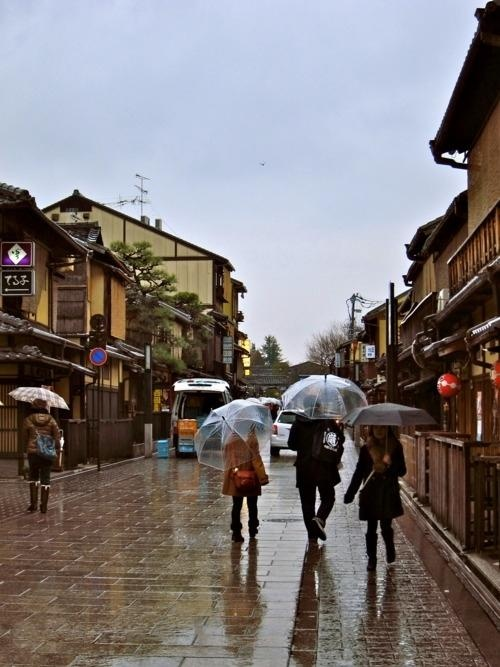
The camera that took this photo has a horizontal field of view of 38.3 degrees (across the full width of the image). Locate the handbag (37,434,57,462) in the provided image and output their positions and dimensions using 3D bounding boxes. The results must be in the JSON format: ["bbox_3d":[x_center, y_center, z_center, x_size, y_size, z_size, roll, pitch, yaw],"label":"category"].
[{"bbox_3d":[-3.296,1.902,11.665,0.099,0.355,0.350,-24,-36,20],"label":"handbag"}]

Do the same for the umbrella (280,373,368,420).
[{"bbox_3d":[0.977,0.873,9.564,1.280,0.596,1.277,4,3,-28],"label":"umbrella"}]

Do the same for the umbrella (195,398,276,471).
[{"bbox_3d":[-0.131,1.164,9.389,0.892,0.946,0.463,-23,-50,26],"label":"umbrella"}]

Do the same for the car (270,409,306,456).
[{"bbox_3d":[1.406,3.926,26.726,1.468,1.440,3.151,0,5,3],"label":"car"}]

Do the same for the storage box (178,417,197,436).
[{"bbox_3d":[-2.298,3.546,26.574,0.639,0.635,0.659,0,-6,-2],"label":"storage box"}]

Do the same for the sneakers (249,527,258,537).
[{"bbox_3d":[0.048,2.553,9.006,0.089,0.113,0.111,0,-15,2],"label":"sneakers"}]

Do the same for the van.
[{"bbox_3d":[-2.197,3.358,28.042,2.338,2.619,4.236,0,6,3],"label":"van"}]

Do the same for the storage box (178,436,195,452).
[{"bbox_3d":[-2.278,4.148,26.080,0.551,0.610,0.479,-2,-5,2],"label":"storage box"}]

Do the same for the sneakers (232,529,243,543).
[{"bbox_3d":[-0.157,2.512,8.747,0.134,0.202,0.112,1,-13,-7],"label":"sneakers"}]

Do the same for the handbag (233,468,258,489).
[{"bbox_3d":[-0.070,1.840,8.881,0.309,0.329,0.195,3,-22,-11],"label":"handbag"}]

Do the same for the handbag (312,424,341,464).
[{"bbox_3d":[0.907,1.351,8.505,0.351,0.501,0.191,8,-28,0],"label":"handbag"}]

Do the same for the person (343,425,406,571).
[{"bbox_3d":[1.273,1.673,7.279,0.602,1.415,0.727,-3,-5,11],"label":"person"}]

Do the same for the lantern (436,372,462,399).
[{"bbox_3d":[3.936,1.065,14.377,0.357,0.490,1.150,-3,-6,13],"label":"lantern"}]

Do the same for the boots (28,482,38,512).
[{"bbox_3d":[-3.470,2.687,11.563,0.143,0.482,0.256,1,-6,-25],"label":"boots"}]

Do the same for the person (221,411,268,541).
[{"bbox_3d":[-0.069,1.927,9.119,0.564,1.410,0.829,-2,-5,0],"label":"person"}]

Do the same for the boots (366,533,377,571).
[{"bbox_3d":[1.174,2.171,6.982,0.098,0.328,0.257,-2,-5,7],"label":"boots"}]
